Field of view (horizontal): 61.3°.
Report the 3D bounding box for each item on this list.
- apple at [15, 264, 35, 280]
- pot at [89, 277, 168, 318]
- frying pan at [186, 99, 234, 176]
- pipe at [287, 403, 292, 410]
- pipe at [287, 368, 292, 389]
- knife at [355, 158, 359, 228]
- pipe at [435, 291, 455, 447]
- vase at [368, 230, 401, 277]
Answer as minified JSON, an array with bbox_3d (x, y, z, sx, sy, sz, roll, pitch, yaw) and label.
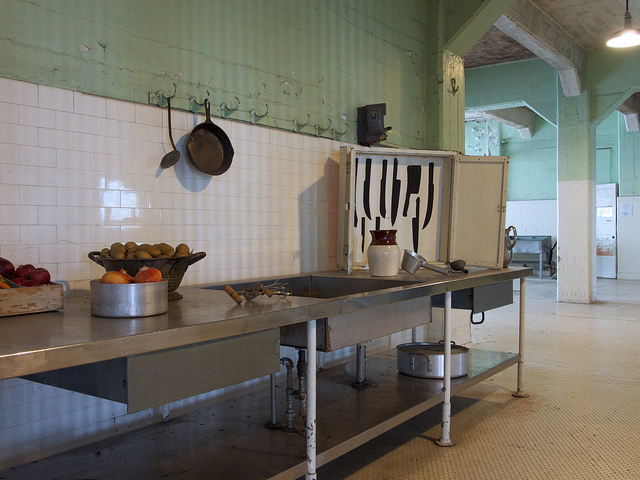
[{"bbox_3d":[-1.269,0.132,2.328,0.062,0.061,0.062,-10,-15,-34],"label":"apple"},{"bbox_3d":[-0.711,0.226,2.327,0.310,0.140,0.306,-2,5,0],"label":"pot"},{"bbox_3d":[-0.689,-0.611,3.348,0.063,0.439,0.274,-8,-1,40],"label":"frying pan"},{"bbox_3d":[-0.170,0.900,2.954,0.030,0.030,0.030,-2,4,-33],"label":"pipe"},{"bbox_3d":[-0.174,0.745,2.962,0.024,0.133,0.101,-1,4,-11],"label":"pipe"},{"bbox_3d":[0.270,-0.374,4.075,0.010,0.421,0.048,0,0,-19],"label":"knife"},{"bbox_3d":[0.789,0.806,3.430,0.119,0.986,0.151,3,5,33],"label":"pipe"},{"bbox_3d":[0.433,0.078,3.756,0.219,0.287,0.214,0,0,-5],"label":"vase"}]
